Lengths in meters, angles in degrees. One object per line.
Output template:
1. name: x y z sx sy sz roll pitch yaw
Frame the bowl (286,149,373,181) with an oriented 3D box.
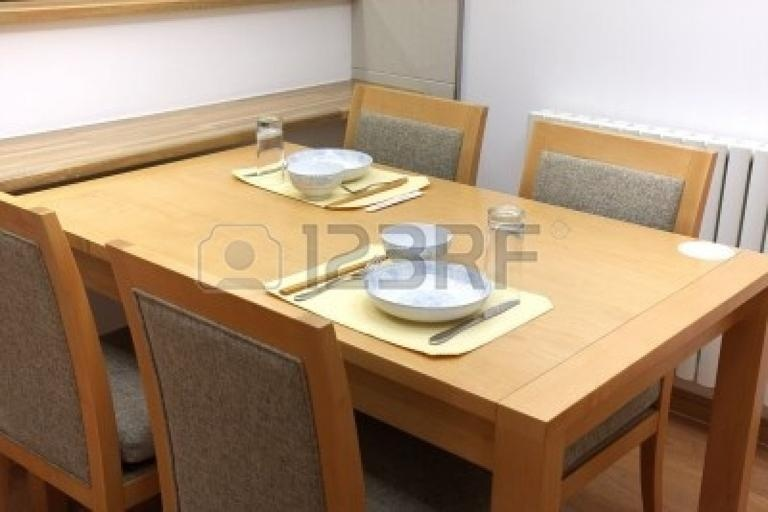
1. bowl: -0.139 -0.302 1.777 0.170 0.039 0.169 0 24 0

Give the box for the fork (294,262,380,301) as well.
1. fork: -0.084 0.045 1.215 0.247 0.020 0.048 -24 39 -36

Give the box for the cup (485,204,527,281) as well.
1. cup: 0.269 -0.045 1.251 0.081 0.155 0.231 9 26 14

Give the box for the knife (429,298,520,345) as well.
1. knife: 0.164 0.126 1.060 0.201 0.016 0.027 -19 33 -40

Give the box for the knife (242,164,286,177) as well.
1. knife: -0.370 -0.268 1.806 0.166 0.039 0.026 -8 -17 -19

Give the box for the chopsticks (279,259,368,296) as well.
1. chopsticks: -0.115 0.045 1.212 0.218 0.023 0.014 -20 61 13
